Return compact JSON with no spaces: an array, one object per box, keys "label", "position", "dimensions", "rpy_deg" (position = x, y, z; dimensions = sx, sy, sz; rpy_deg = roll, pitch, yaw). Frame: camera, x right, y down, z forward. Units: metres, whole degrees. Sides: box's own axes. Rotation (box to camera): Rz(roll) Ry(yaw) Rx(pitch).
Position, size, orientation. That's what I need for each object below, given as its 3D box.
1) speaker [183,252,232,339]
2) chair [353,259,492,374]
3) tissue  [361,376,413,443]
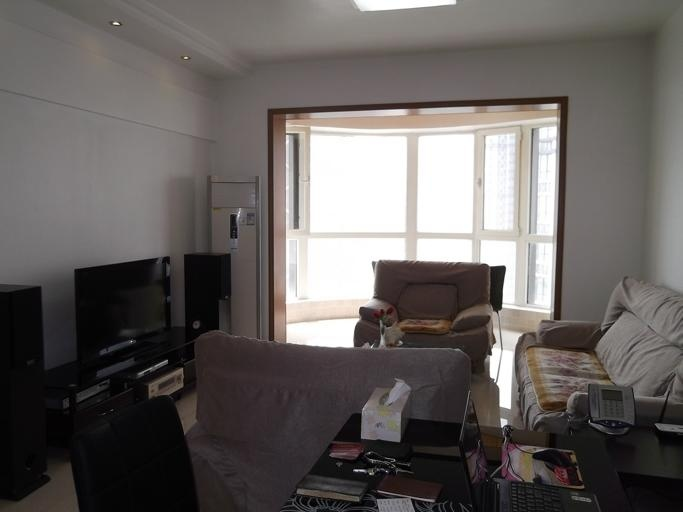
[{"label":"speaker","position":[-1.397,0.444,5.268],"dimensions":[0.591,0.920,0.530],"rpy_deg":[-3,7,-30]},{"label":"chair","position":[0.910,0.638,5.474],"dimensions":[1.389,1.090,1.043],"rpy_deg":[0,1,18]},{"label":"tissue ","position":[0.218,0.660,2.381],"dimensions":[0.189,0.233,0.351],"rpy_deg":[1,1,13]}]
